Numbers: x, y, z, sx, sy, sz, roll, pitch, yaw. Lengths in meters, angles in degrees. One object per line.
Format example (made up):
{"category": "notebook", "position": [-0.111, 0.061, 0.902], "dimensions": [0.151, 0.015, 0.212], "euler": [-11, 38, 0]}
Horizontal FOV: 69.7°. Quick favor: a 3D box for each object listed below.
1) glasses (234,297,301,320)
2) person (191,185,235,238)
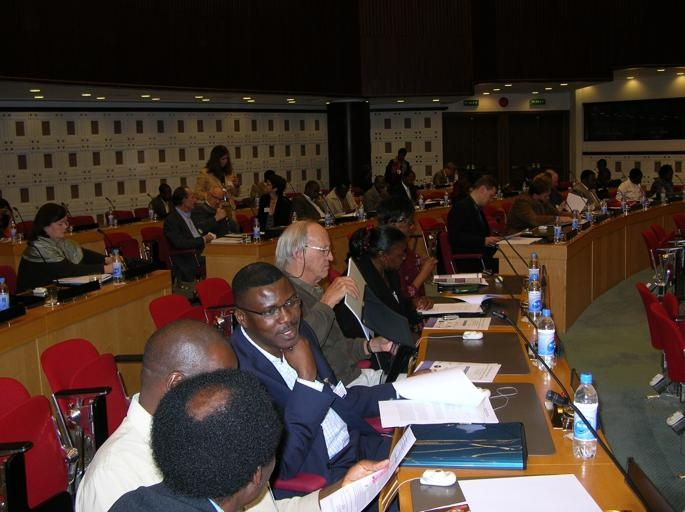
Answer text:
{"category": "glasses", "position": [-0.354, 0.245, 2.333], "dimensions": [0.293, 0.077, 0.101], "euler": [-3, 11, -10]}
{"category": "person", "position": [-2.167, -0.705, 8.106], "dimensions": [0.416, 1.258, 0.588], "euler": [5, 21, 22]}
